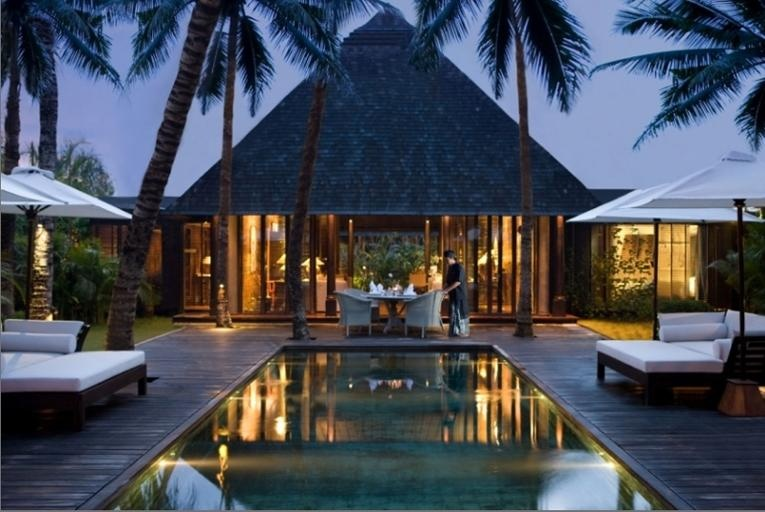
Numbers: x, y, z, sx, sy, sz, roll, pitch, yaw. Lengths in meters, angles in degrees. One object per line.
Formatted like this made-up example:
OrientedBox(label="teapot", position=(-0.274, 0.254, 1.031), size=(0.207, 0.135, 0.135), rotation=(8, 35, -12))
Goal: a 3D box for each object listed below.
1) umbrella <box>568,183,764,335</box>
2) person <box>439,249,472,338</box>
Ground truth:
OrientedBox(label="umbrella", position=(6.171, -0.807, 16.071), size=(3.675, 3.967, 4.084), rotation=(-1, 3, -5))
OrientedBox(label="person", position=(1.799, 0.932, 18.421), size=(0.695, 2.140, 0.594), rotation=(-1, 8, -10))
